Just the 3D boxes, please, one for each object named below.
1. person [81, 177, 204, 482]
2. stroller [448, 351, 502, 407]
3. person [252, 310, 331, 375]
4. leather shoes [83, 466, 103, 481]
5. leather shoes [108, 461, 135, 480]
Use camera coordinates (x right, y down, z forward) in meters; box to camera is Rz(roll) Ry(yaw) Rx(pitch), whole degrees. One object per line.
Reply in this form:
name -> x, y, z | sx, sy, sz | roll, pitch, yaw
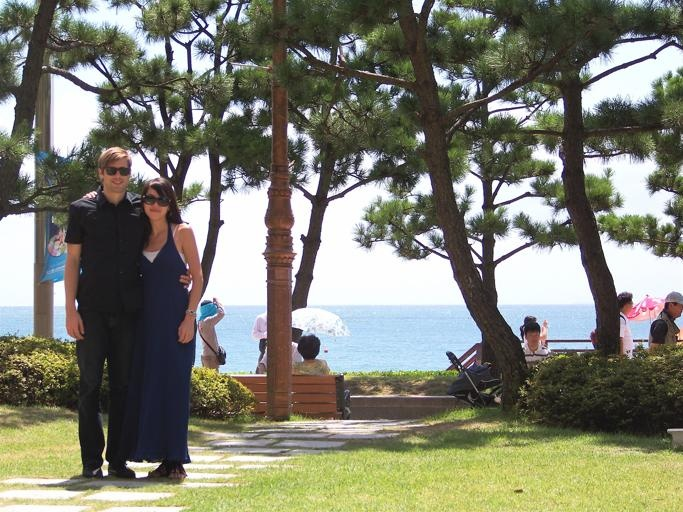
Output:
person -> -2.045, 0.842, 17.266 | 0.710, 3.444, 0.670 | 1, 7, -7
stroller -> 2.152, 1.921, 23.387 | 0.827, 0.952, 0.562 | -7, 3, -1
person -> -0.681, 1.479, 23.797 | 0.824, 0.966, 0.838 | 11, -15, -33
leather shoes -> -2.947, 2.546, 17.177 | 0.207, 0.169, 0.128 | -3, 1, -7
leather shoes -> -2.607, 2.522, 17.209 | 0.297, 0.162, 0.156 | 1, 0, 10
